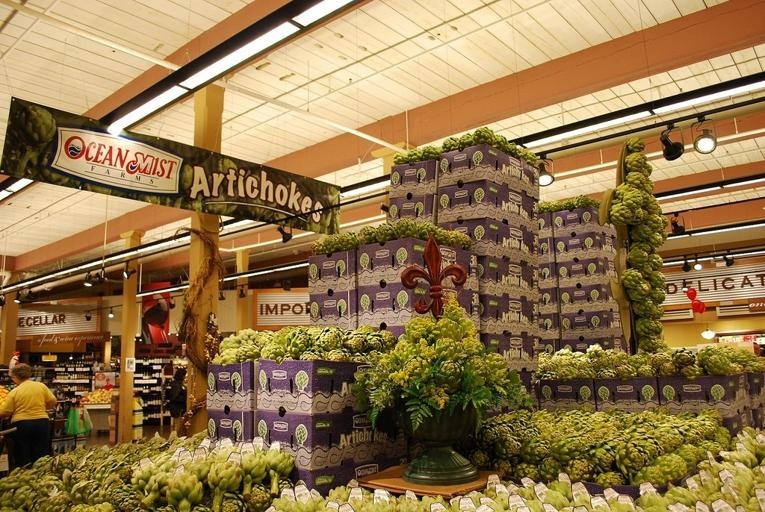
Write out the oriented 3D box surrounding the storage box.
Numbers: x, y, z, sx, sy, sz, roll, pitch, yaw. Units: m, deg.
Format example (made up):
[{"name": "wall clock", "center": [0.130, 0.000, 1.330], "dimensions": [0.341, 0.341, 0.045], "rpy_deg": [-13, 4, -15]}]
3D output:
[{"name": "storage box", "center": [0.930, 0.424, 4.498], "dimensions": [4.650, 2.610, 2.557], "rpy_deg": [-6, 13, -20]}]
